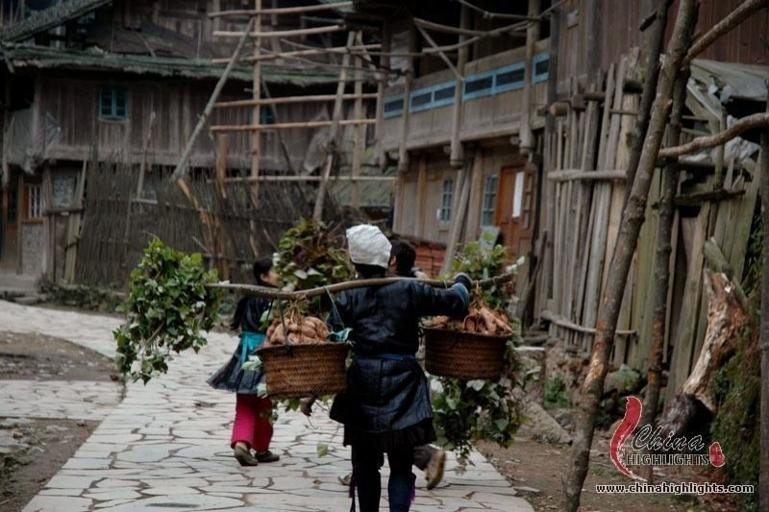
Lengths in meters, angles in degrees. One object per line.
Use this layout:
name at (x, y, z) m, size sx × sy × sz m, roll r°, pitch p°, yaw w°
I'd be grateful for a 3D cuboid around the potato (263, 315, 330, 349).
potato at (-0.983, 0.800, 11.289) m, size 0.392 × 0.516 × 0.734 m, roll 0°, pitch -1°, yaw -7°

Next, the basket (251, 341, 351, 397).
basket at (-0.786, 1.312, 11.560) m, size 1.012 × 0.589 × 1.174 m, roll -5°, pitch -7°, yaw 14°

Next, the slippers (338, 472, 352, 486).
slippers at (-0.489, 2.729, 12.475) m, size 0.201 × 0.094 × 0.210 m, roll -1°, pitch 4°, yaw -15°

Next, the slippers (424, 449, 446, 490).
slippers at (0.608, 2.475, 11.936) m, size 0.165 × 0.157 × 0.400 m, roll 8°, pitch 11°, yaw -26°

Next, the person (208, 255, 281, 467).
person at (-1.718, 1.335, 12.841) m, size 0.839 × 2.496 × 1.072 m, roll 1°, pitch 0°, yaw -32°

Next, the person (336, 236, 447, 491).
person at (0.116, 1.424, 11.378) m, size 0.902 × 3.085 × 0.789 m, roll 1°, pitch -4°, yaw 34°
